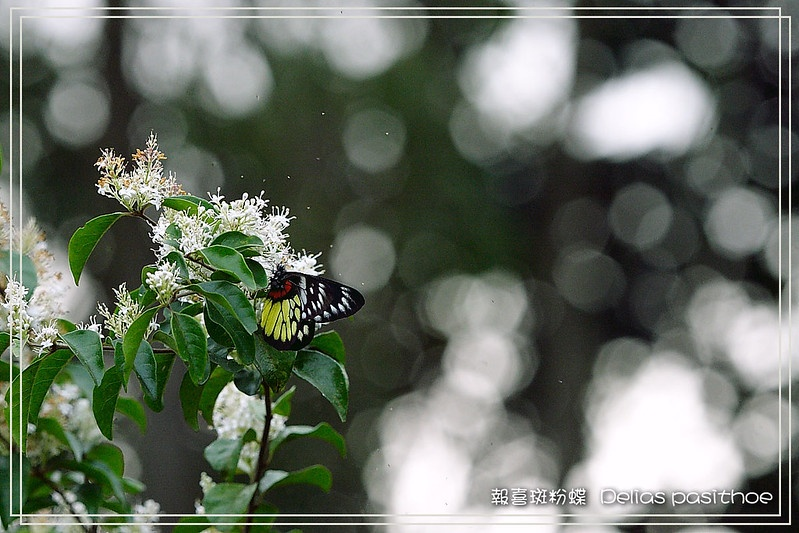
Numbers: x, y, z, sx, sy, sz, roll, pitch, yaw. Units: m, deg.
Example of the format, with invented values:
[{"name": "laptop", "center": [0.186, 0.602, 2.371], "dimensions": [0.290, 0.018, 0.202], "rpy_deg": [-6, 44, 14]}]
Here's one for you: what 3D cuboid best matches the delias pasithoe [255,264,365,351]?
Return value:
[{"name": "delias pasithoe", "center": [-0.417, 0.173, 3.817], "dimensions": [0.502, 0.277, 0.347], "rpy_deg": [-3, -81, 45]}]
